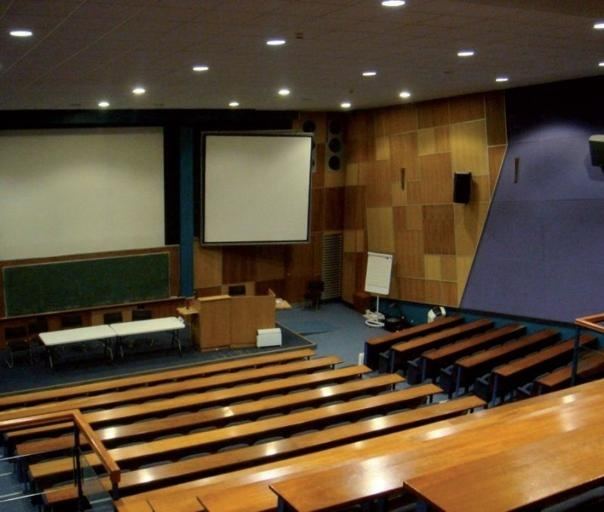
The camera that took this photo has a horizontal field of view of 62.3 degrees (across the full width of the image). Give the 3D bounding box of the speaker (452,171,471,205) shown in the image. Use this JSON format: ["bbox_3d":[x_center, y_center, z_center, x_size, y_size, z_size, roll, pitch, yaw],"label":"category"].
[{"bbox_3d":[3.683,-1.526,11.406,0.440,0.734,0.356,-8,7,-31],"label":"speaker"}]
